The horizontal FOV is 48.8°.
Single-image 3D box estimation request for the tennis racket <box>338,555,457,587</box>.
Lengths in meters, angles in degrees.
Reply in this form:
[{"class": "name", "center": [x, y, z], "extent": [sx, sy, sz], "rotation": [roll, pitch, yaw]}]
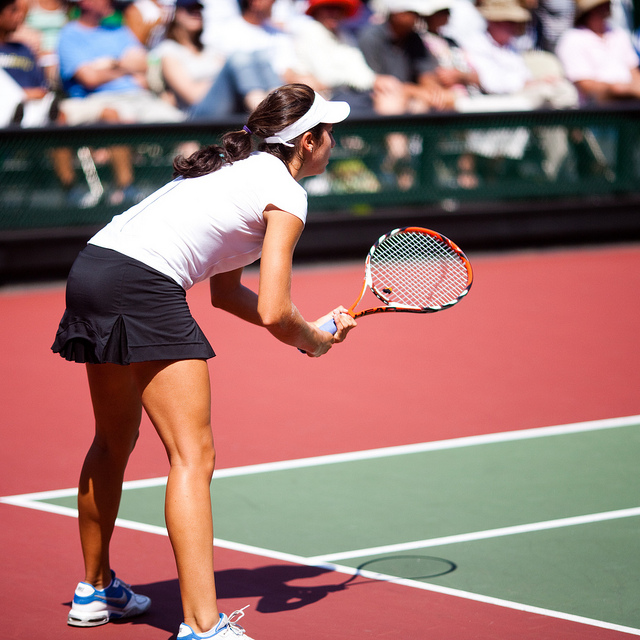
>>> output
[{"class": "tennis racket", "center": [0.279, 0.844, 2.406], "extent": [0.363, 0.005, 0.156], "rotation": [-4, 11, -7]}]
